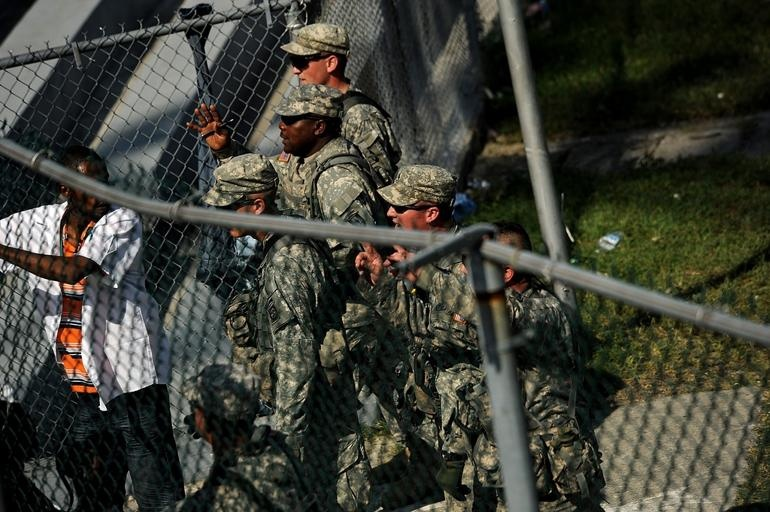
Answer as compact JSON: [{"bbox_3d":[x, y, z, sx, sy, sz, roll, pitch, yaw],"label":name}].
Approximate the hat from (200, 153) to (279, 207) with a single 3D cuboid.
[{"bbox_3d":[-1.131,-0.608,9.998,0.475,0.245,0.365,-14,20,3],"label":"hat"}]
